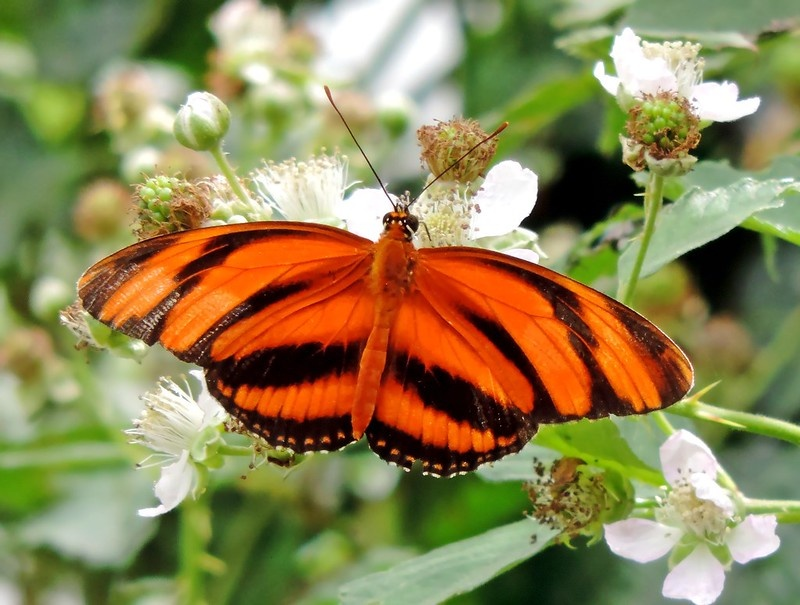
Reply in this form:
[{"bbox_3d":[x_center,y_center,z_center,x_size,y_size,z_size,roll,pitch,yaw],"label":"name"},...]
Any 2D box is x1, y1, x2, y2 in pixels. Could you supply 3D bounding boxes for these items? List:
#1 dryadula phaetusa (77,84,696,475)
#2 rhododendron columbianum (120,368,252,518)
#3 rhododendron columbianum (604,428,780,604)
[{"bbox_3d":[-0.036,0.056,1.590,0.882,0.305,0.499,35,84,6],"label":"dryadula phaetusa"},{"bbox_3d":[-0.382,0.239,1.770,0.236,0.326,0.167,0,47,0],"label":"rhododendron columbianum"},{"bbox_3d":[0.455,0.350,1.513,0.216,0.139,0.219,40,84,6],"label":"rhododendron columbianum"}]
